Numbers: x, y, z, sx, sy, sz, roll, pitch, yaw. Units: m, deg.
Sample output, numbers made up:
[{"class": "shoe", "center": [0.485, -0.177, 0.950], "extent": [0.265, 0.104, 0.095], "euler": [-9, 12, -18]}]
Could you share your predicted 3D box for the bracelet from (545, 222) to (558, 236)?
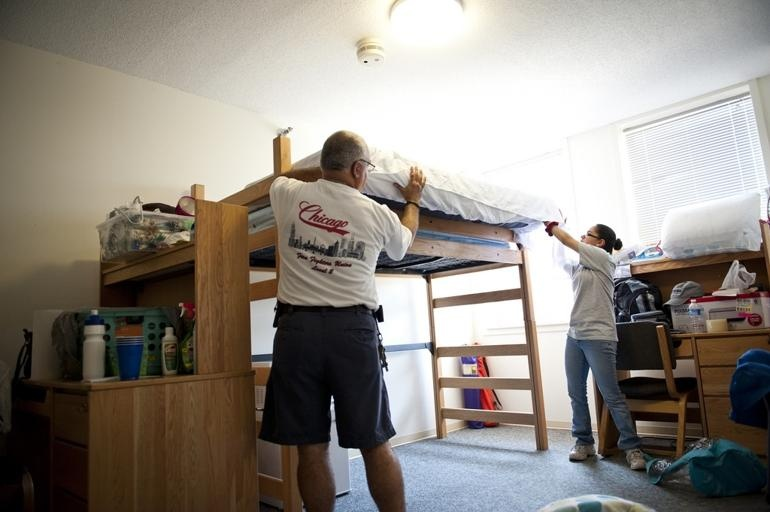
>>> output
[{"class": "bracelet", "center": [1.351, -0.227, 4.444], "extent": [0.073, 0.103, 0.085], "euler": [-6, -46, 5]}]

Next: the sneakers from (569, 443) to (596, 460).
[{"class": "sneakers", "center": [1.567, 1.572, 4.361], "extent": [0.249, 0.114, 0.093], "euler": [10, -13, -41]}]

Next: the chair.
[{"class": "chair", "center": [2.206, 1.113, 4.514], "extent": [0.776, 1.016, 0.889], "euler": [-2, -9, 25]}]

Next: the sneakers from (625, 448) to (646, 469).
[{"class": "sneakers", "center": [1.876, 1.523, 4.072], "extent": [0.140, 0.117, 0.258], "euler": [-4, 1, 23]}]

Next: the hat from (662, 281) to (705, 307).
[{"class": "hat", "center": [2.432, 0.317, 4.473], "extent": [0.296, 0.147, 0.183], "euler": [-7, -4, -22]}]

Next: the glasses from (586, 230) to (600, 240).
[{"class": "glasses", "center": [1.731, -0.162, 4.551], "extent": [0.074, 0.022, 0.070], "euler": [27, -5, -10]}]

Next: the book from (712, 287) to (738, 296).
[{"class": "book", "center": [2.671, 0.288, 4.291], "extent": [0.172, 0.057, 0.068], "euler": [-17, -30, 9]}]

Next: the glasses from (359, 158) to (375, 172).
[{"class": "glasses", "center": [-0.118, -0.527, 3.168], "extent": [0.084, 0.022, 0.085], "euler": [-3, -4, 38]}]

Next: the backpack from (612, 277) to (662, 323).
[{"class": "backpack", "center": [2.156, 0.393, 4.884], "extent": [0.345, 0.413, 0.413], "euler": [-11, -23, 2]}]

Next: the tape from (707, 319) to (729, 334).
[{"class": "tape", "center": [2.575, 0.538, 4.225], "extent": [0.152, 0.070, 0.122], "euler": [-4, 2, 25]}]
